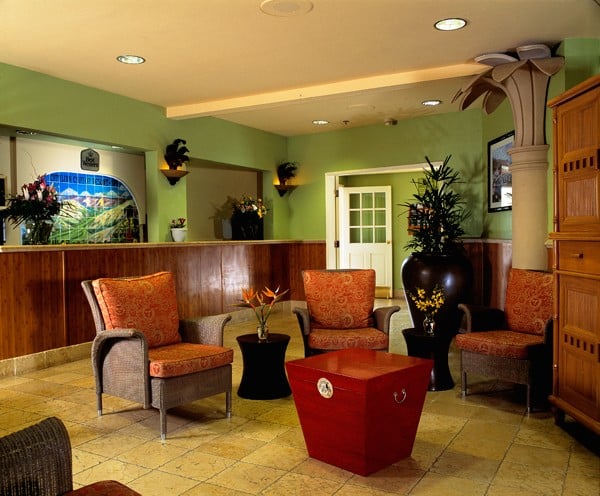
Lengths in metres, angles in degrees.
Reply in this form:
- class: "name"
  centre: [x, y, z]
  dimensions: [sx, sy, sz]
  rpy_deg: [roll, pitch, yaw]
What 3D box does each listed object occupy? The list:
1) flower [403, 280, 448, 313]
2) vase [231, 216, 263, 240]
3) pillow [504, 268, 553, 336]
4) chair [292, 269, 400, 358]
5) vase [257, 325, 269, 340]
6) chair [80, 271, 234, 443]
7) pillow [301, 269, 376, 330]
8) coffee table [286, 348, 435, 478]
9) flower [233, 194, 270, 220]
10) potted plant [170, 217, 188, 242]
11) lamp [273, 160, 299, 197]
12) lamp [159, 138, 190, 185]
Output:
- class: "flower"
  centre: [1.390, 0.540, 4.986]
  dimensions: [0.434, 0.199, 0.450]
  rpy_deg: [-2, -1, -13]
- class: "vase"
  centre: [-0.878, -0.341, 7.772]
  dimensions: [0.488, 0.282, 0.438]
  rpy_deg: [1, -3, 0]
- class: "pillow"
  centre: [1.941, 0.449, 3.855]
  dimensions: [0.210, 0.447, 0.501]
  rpy_deg: [8, -1, -39]
- class: "chair"
  centre: [0.410, 0.566, 4.147]
  dimensions: [0.891, 0.687, 0.828]
  rpy_deg: [0, 2, 10]
- class: "vase"
  centre: [-0.300, 0.707, 3.838]
  dimensions: [0.122, 0.128, 0.108]
  rpy_deg: [0, 1, 2]
- class: "chair"
  centre: [-0.989, 0.747, 3.732]
  dimensions: [1.197, 1.132, 1.187]
  rpy_deg: [-2, -3, 36]
- class: "pillow"
  centre: [0.376, 0.437, 4.471]
  dimensions: [1.017, 0.688, 0.509]
  rpy_deg: [0, -6, 0]
- class: "coffee table"
  centre: [0.333, 0.944, 2.846]
  dimensions: [0.679, 0.532, 0.743]
  rpy_deg: [-1, 0, -45]
- class: "flower"
  centre: [-0.771, -0.679, 7.745]
  dimensions: [0.517, 0.249, 0.467]
  rpy_deg: [4, 2, 7]
- class: "potted plant"
  centre: [-1.707, -0.264, 6.454]
  dimensions: [0.213, 0.346, 0.304]
  rpy_deg: [-1, 2, -16]
- class: "lamp"
  centre: [-0.229, -1.235, 8.189]
  dimensions: [0.265, 0.638, 0.399]
  rpy_deg: [0, 2, 31]
- class: "lamp"
  centre: [-1.707, -1.220, 6.461]
  dimensions: [0.303, 0.671, 0.464]
  rpy_deg: [0, 2, 20]
